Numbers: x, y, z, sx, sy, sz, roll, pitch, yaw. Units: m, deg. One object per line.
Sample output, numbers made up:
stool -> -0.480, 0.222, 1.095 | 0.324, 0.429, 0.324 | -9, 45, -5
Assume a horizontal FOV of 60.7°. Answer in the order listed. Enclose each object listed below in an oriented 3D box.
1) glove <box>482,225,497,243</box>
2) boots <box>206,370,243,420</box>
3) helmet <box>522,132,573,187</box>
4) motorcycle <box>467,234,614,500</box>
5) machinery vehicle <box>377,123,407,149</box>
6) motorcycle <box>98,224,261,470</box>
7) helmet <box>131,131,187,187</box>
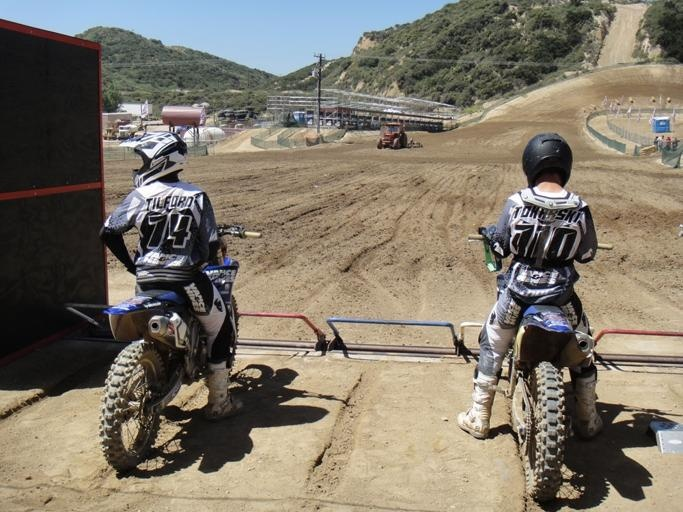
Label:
glove -> 1.276, -0.205, 5.061 | 0.099, 0.105, 0.148 | 2, 6, -2
boots -> -1.151, 1.295, 5.617 | 0.264, 0.495, 0.528 | -1, -5, 16
helmet -> 1.817, -0.842, 5.149 | 0.453, 0.475, 0.527 | -2, -25, 10
motorcycle -> 1.623, 0.864, 4.759 | 0.745, 1.872, 1.219 | -2, 18, 7
machinery vehicle -> 3.548, -9.044, 43.753 | 1.995, 2.118, 3.679 | 0, 5, 12
motorcycle -> -1.910, 0.750, 5.620 | 1.142, 1.389, 2.439 | 3, 16, 19
helmet -> -1.660, -0.891, 5.329 | 0.594, 0.499, 0.478 | -3, 13, -4
